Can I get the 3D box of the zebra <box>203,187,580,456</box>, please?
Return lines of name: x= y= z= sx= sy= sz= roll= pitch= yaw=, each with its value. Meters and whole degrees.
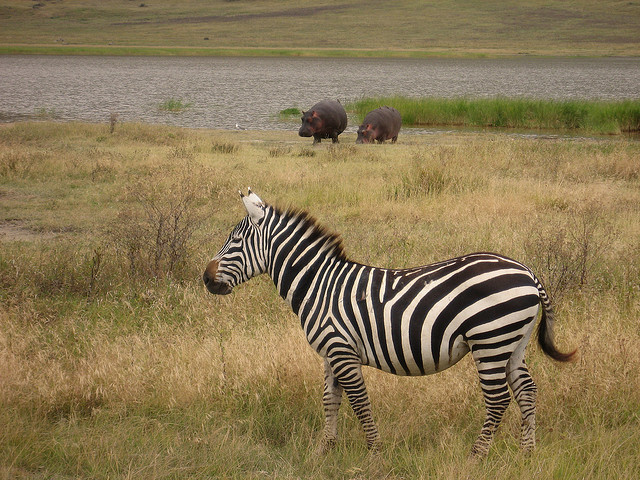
zebra: x=1.122 y=0.949 z=15.236 sx=3.871 sy=5.207 sz=6.046 roll=9 pitch=18 yaw=19

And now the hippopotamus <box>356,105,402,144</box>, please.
hippopotamus: x=2.178 y=-4.376 z=34.481 sx=0.817 sy=2.558 sz=1.428 roll=2 pitch=100 yaw=24
